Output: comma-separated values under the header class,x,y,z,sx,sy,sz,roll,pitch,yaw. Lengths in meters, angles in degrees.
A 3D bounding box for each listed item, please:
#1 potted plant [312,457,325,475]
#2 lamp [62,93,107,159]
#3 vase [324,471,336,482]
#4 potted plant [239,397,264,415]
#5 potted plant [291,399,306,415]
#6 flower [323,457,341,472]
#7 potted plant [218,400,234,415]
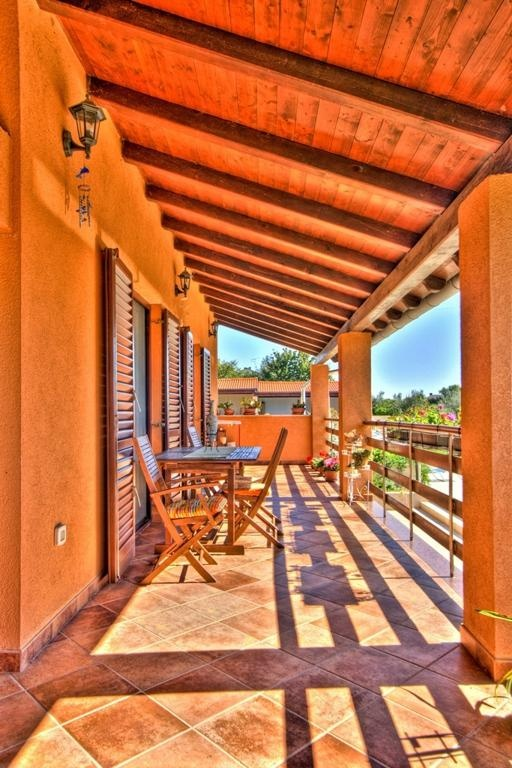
class,x,y,z,sx,sy,sz,roll,pitch,yaw
potted plant,1.125,1.465,9.538,0.312,0.322,0.323,-1,-9,6
lamp,-0.963,-1.422,2.989,0.204,0.375,0.462,1,-4,-20
vase,1.254,1.536,9.014,0.166,0.129,0.171,0,-4,-3
potted plant,-0.119,0.532,12.355,0.420,0.376,0.590,0,-4,-4
potted plant,1.005,0.543,12.575,0.270,0.337,0.314,0,-13,1
flower,1.270,1.349,9.099,0.214,0.205,0.220,0,0,19
potted plant,-0.699,0.518,12.570,0.354,0.325,0.365,-3,-10,18
